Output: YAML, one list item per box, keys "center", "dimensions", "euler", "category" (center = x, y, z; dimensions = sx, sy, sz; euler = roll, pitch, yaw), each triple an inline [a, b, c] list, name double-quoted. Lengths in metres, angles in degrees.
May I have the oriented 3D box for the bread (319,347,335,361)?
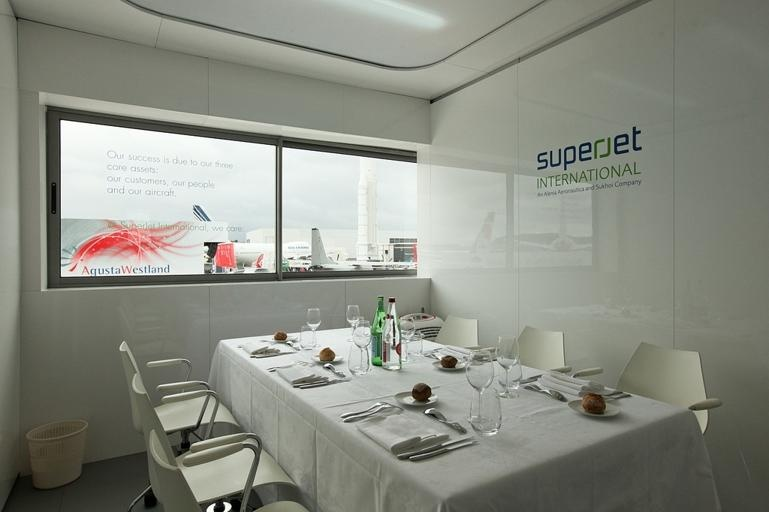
- center: [-0.436, 0.749, 3.644]
  dimensions: [0.098, 0.084, 0.095]
  euler: [3, -6, -41]
  category: "bread"

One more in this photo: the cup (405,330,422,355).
- center: [0.217, 0.695, 3.897]
  dimensions: [0.162, 0.191, 0.163]
  euler: [-1, 5, 0]
  category: "cup"

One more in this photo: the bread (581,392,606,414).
- center: [1.243, 0.869, 2.837]
  dimensions: [0.107, 0.056, 0.111]
  euler: [6, 12, 29]
  category: "bread"

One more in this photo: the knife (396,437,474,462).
- center: [0.254, 1.037, 2.538]
  dimensions: [0.319, 0.023, 0.075]
  euler: [-4, 4, -29]
  category: "knife"

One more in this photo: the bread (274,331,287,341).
- center: [-0.916, 0.705, 4.217]
  dimensions: [0.085, 0.064, 0.088]
  euler: [-1, -1, 22]
  category: "bread"

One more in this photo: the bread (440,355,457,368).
- center: [0.468, 0.782, 3.530]
  dimensions: [0.080, 0.046, 0.082]
  euler: [2, 0, -7]
  category: "bread"

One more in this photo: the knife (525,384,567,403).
- center: [1.033, 0.882, 3.126]
  dimensions: [0.073, 0.056, 0.322]
  euler: [-8, 7, -32]
  category: "knife"

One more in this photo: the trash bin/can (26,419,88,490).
- center: [-2.950, 1.805, 4.409]
  dimensions: [0.450, 0.471, 0.533]
  euler: [0, -6, -10]
  category: "trash bin/can"

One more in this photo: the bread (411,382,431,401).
- center: [0.231, 0.849, 3.010]
  dimensions: [0.101, 0.107, 0.100]
  euler: [2, -2, 16]
  category: "bread"
